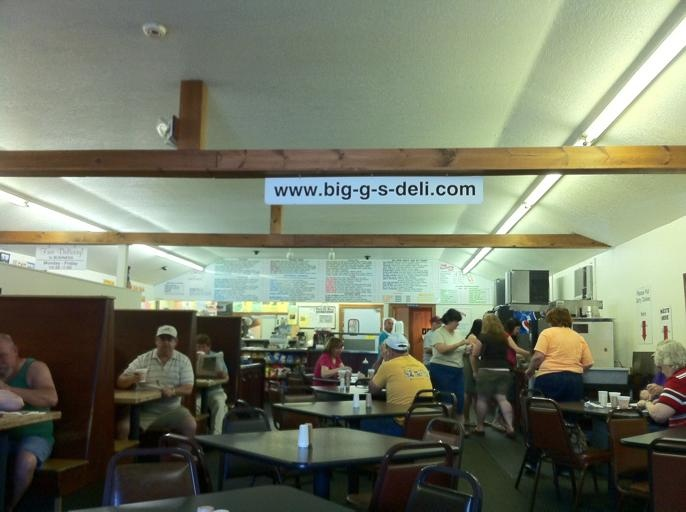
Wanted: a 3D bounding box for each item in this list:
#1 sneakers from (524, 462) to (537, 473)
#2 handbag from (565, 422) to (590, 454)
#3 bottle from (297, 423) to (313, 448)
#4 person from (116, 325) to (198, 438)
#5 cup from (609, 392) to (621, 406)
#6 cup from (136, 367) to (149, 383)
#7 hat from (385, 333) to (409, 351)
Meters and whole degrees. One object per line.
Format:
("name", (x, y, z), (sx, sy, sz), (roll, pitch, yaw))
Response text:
("sneakers", (2.225, 2.572, 7.062), (0.169, 0.152, 0.120), (0, -4, 17))
("handbag", (2.289, 1.790, 5.834), (0.223, 0.304, 0.322), (-1, -3, 9))
("bottle", (-0.294, 1.352, 4.454), (0.105, 0.162, 0.180), (1, -9, -3))
("person", (-2.164, 1.568, 6.856), (0.914, 1.384, 0.857), (3, 1, -17))
("cup", (2.935, 1.554, 6.461), (0.149, 0.152, 0.150), (1, -5, 0))
("cup", (-2.174, 1.298, 6.377), (0.088, 0.148, 0.415), (3, -9, -15))
("hat", (0.586, 0.955, 6.557), (0.240, 0.208, 0.223), (0, -9, 3))
